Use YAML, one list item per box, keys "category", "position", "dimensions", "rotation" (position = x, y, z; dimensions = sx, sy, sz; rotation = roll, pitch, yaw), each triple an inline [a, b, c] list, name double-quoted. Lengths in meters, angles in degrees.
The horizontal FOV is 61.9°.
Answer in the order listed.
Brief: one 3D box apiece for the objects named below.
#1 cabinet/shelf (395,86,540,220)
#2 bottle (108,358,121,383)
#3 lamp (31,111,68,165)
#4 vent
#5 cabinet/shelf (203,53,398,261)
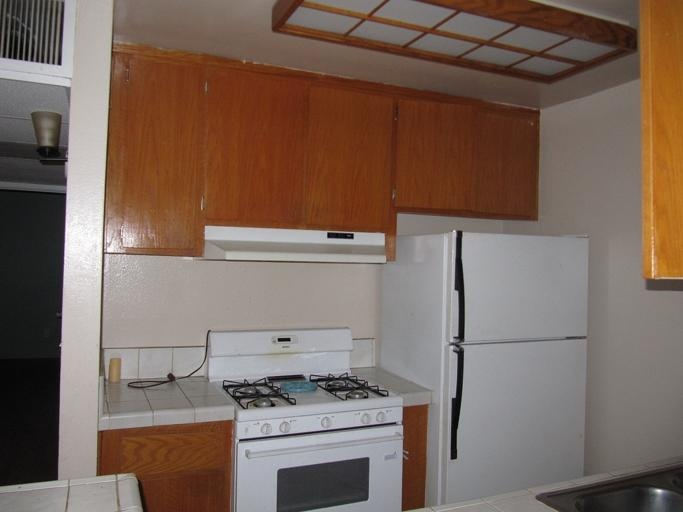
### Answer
- category: "cabinet/shelf"
  position: [0.812, -0.620, 3.869]
  dimensions: [1.046, 0.744, 0.386]
  rotation: [3, -5, -15]
- category: "bottle"
  position: [-1.277, 0.639, 3.207]
  dimensions: [0.064, 0.134, 0.078]
  rotation: [2, 3, -22]
- category: "lamp"
  position: [-1.312, -0.544, 2.638]
  dimensions: [0.179, 0.277, 0.184]
  rotation: [-5, 3, -24]
- category: "vent"
  position: [-0.231, -0.059, 3.277]
  dimensions: [1.083, 0.194, 0.202]
  rotation: [2, 3, -21]
- category: "cabinet/shelf"
  position: [-0.252, -0.532, 3.469]
  dimensions: [1.096, 1.036, 0.403]
  rotation: [4, -5, -12]
